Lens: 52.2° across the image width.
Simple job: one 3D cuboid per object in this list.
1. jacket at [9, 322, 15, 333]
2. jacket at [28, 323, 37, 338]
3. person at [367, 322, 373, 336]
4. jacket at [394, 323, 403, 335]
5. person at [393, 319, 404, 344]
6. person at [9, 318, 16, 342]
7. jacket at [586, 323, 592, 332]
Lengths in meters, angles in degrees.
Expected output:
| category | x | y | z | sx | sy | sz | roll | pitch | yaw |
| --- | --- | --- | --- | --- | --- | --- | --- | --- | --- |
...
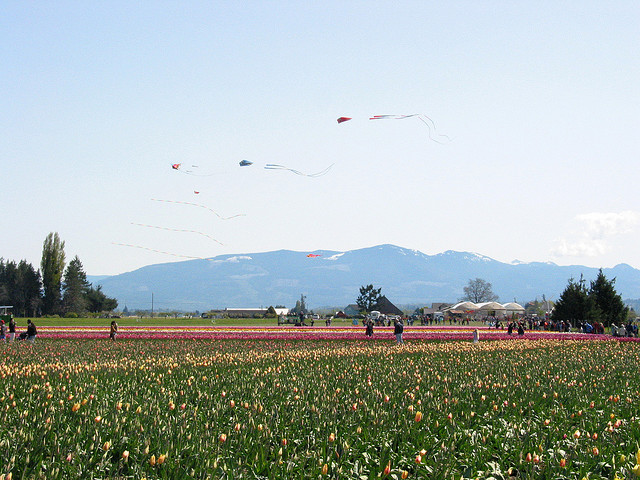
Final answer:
| category | x | y | z | sx | sy | sz | roll | pitch | yaw |
| --- | --- | --- | --- | --- | --- | --- | --- | --- | --- |
| jacket | -15.126 | 4.304 | 32.058 | 0.199 | 0.633 | 0.512 | 0 | 8 | -32 |
| jacket | -13.668 | 4.322 | 30.925 | 0.277 | 0.712 | 0.626 | 1 | 8 | -26 |
| person | 2.955 | 5.206 | 38.107 | 0.230 | 0.695 | 0.960 | 5 | 7 | 5 |
| jacket | 3.886 | 4.322 | 31.794 | 0.323 | 0.660 | 0.516 | 5 | 7 | 2 |
| person | 3.905 | 4.468 | 31.964 | 0.439 | 1.413 | 2.022 | 5 | 7 | 6 |
| person | -15.153 | 4.376 | 32.109 | 0.221 | 1.042 | 0.616 | 1 | 8 | -28 |
| jacket | 19.961 | 6.557 | 48.203 | 0.419 | 0.693 | 0.815 | 8 | 8 | 23 |
